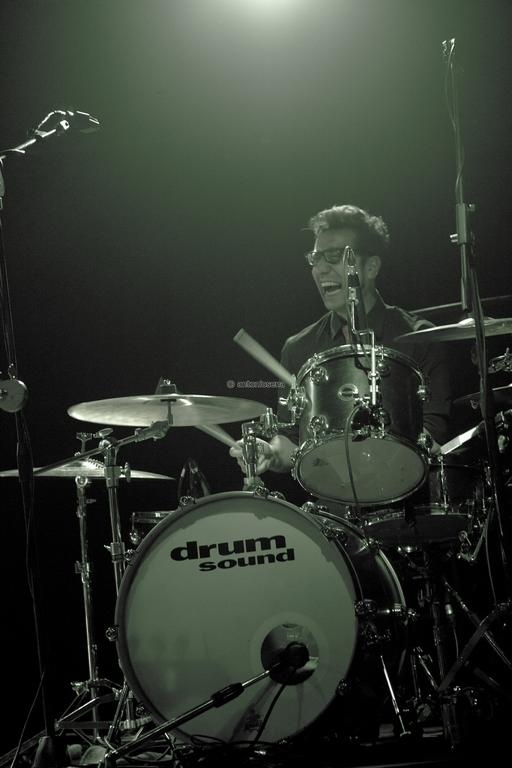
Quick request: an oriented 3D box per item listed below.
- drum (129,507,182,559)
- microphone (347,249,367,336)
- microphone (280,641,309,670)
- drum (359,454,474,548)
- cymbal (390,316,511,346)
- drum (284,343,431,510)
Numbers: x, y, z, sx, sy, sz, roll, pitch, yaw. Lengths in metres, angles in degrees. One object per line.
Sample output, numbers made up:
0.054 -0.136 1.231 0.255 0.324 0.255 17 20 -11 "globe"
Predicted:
-0.382 0.522 2.844 0.189 0.160 0.184 -7 -11 25 "drum"
0.340 -0.310 2.794 0.061 0.333 0.283 -5 -1 8 "microphone"
0.124 0.857 2.535 0.104 0.087 0.037 -4 -1 -33 "microphone"
0.561 0.349 2.729 0.348 0.116 0.338 3 -37 2 "drum"
0.723 -0.187 2.870 0.221 0.045 0.210 -12 -6 10 "cymbal"
0.343 0.156 2.703 0.463 0.539 0.484 -5 -1 9 "drum"
